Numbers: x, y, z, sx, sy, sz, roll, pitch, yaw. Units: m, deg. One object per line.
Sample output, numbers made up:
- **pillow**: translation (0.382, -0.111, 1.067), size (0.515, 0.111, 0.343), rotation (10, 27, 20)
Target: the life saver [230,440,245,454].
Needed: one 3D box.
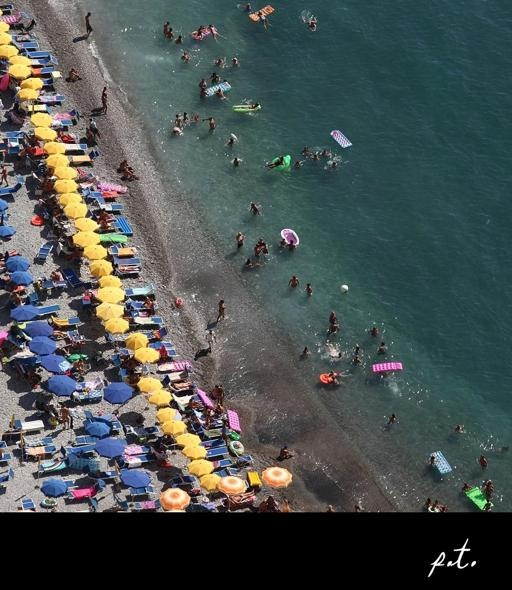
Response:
- **life saver**: translation (-0.994, 8.109, 59.957), size (0.678, 0.829, 0.860), rotation (-2, 45, 3)

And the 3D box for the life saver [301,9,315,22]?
- **life saver**: translation (3.995, -21.591, 89.347), size (1.117, 0.239, 0.912), rotation (-9, 64, -7)

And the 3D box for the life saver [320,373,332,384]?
- **life saver**: translation (4.078, 4.797, 66.005), size (0.839, 0.292, 0.857), rotation (-1, 44, 2)
